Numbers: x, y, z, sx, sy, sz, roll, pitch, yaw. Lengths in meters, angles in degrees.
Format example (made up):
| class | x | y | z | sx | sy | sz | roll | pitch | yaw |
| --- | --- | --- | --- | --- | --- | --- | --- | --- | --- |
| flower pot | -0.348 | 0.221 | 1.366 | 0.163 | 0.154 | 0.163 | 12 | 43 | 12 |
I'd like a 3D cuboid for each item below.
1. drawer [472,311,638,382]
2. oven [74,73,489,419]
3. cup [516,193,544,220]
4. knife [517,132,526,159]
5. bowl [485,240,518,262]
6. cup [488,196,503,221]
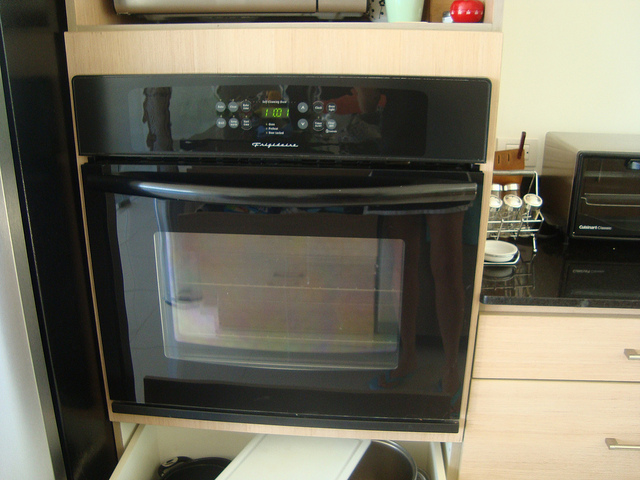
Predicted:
| class | x | y | z | sx | sy | sz | roll | pitch | yaw |
| --- | --- | --- | --- | --- | --- | --- | --- | --- | --- |
| drawer | 0.646 | 0.207 | 1.726 | 0.433 | 0.180 | 0.438 | 1 | 21 | 6 |
| oven | -0.093 | -0.087 | 1.718 | 0.988 | 1.044 | 0.728 | 4 | 28 | 1 |
| cup | 0.647 | -0.101 | 1.775 | 0.069 | 0.076 | 0.040 | 4 | 16 | 19 |
| knife | 0.681 | -0.322 | 1.936 | 0.011 | 0.114 | 0.024 | 30 | 72 | 28 |
| bowl | 0.540 | 0.030 | 1.709 | 0.090 | 0.036 | 0.147 | 5 | 17 | 20 |
| cup | 0.536 | -0.092 | 1.748 | 0.035 | 0.073 | 0.058 | 4 | 16 | 17 |
